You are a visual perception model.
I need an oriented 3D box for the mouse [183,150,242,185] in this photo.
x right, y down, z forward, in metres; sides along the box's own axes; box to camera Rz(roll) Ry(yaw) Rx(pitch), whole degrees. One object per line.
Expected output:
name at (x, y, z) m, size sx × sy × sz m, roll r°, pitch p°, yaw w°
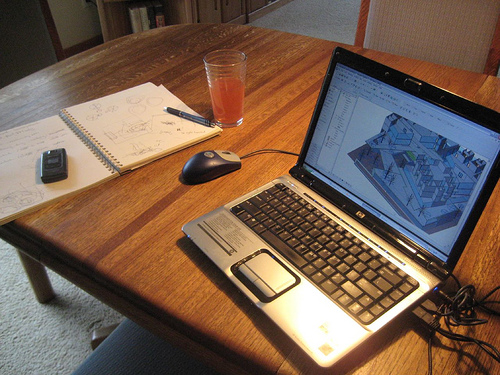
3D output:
mouse at (-0.081, -0.046, 0.822) m, size 0.121 × 0.041 × 0.064 m, roll -21°, pitch 51°, yaw -22°

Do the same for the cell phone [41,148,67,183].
cell phone at (-0.441, -0.051, 0.833) m, size 0.055 × 0.022 × 0.083 m, roll -10°, pitch 55°, yaw -13°
